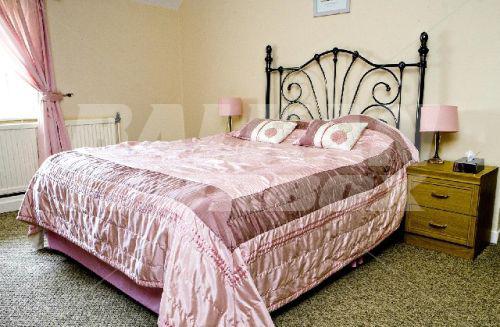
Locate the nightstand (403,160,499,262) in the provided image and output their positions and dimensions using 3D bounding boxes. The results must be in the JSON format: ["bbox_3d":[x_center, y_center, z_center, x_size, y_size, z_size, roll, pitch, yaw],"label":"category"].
[{"bbox_3d":[1.779,0.319,3.527,0.867,1.027,0.773,3,5,38],"label":"nightstand"}]

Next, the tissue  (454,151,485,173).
[{"bbox_3d":[1.939,0.033,3.256,0.202,0.207,0.294,5,14,42],"label":"tissue "}]
